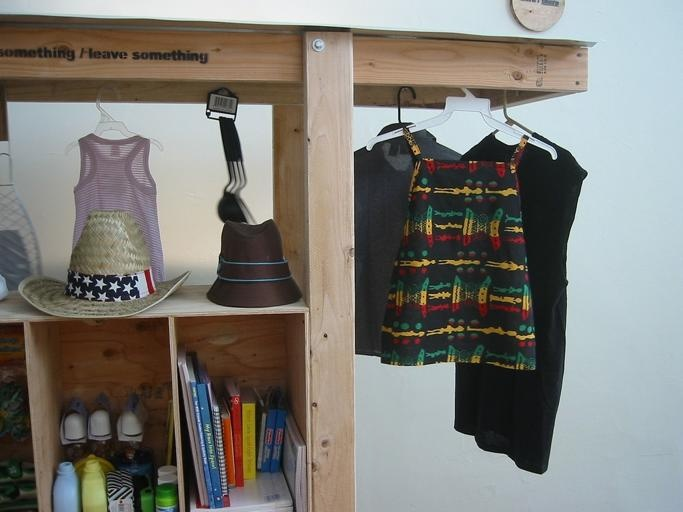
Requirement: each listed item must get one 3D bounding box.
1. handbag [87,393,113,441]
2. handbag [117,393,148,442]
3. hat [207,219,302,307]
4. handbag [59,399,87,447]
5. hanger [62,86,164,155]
[{"bbox_3d":[-1.076,0.733,3.117,0.123,0.154,0.200,1,12,-12],"label":"handbag"},{"bbox_3d":[-0.947,0.741,3.115,0.132,0.144,0.218,10,-22,3],"label":"handbag"},{"bbox_3d":[-0.361,0.018,2.889,0.395,0.239,0.350,-2,6,-11],"label":"hat"},{"bbox_3d":[-1.180,0.748,3.130,0.119,0.159,0.184,2,-4,-16],"label":"handbag"},{"bbox_3d":[-1.147,-0.688,3.487,0.425,0.271,0.008,-1,13,4],"label":"hanger"}]
